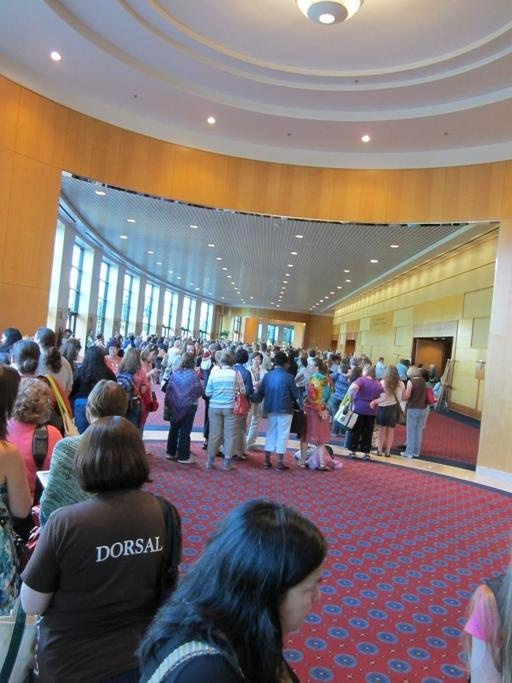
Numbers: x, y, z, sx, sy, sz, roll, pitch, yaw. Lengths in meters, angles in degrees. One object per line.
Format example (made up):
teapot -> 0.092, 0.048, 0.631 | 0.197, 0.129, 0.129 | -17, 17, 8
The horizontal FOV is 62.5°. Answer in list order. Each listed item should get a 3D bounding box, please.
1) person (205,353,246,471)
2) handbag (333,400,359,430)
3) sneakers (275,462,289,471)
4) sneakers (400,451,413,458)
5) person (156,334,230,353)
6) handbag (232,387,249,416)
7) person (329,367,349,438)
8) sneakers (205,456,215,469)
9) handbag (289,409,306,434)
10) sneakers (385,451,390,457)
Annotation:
person -> -0.419, 0.887, 5.803 | 0.539, 1.618, 0.442 | 4, 13, 3
handbag -> 1.463, 1.142, 6.714 | 0.358, 0.425, 0.313 | 5, 1, 3
sneakers -> 0.376, 1.725, 5.906 | 0.076, 0.144, 0.219 | 3, 5, 33
sneakers -> 2.675, 1.989, 7.472 | 0.194, 0.090, 0.078 | 9, -1, 24
person -> -1.639, 0.076, 11.431 | 0.876, 0.394, 1.335 | 1, 4, 18
handbag -> -0.223, 0.793, 5.642 | 0.154, 0.431, 0.429 | -6, -11, 12
person -> 1.617, 1.039, 8.219 | 0.416, 1.325, 0.403 | 5, 20, 3
sneakers -> -0.613, 1.595, 5.617 | 0.079, 0.158, 0.162 | 3, -2, -2
handbag -> 0.568, 1.097, 5.901 | 0.184, 0.459, 0.333 | 1, 3, -3
sneakers -> 2.281, 1.943, 7.319 | 0.042, 0.089, 0.129 | 2, 0, 7
